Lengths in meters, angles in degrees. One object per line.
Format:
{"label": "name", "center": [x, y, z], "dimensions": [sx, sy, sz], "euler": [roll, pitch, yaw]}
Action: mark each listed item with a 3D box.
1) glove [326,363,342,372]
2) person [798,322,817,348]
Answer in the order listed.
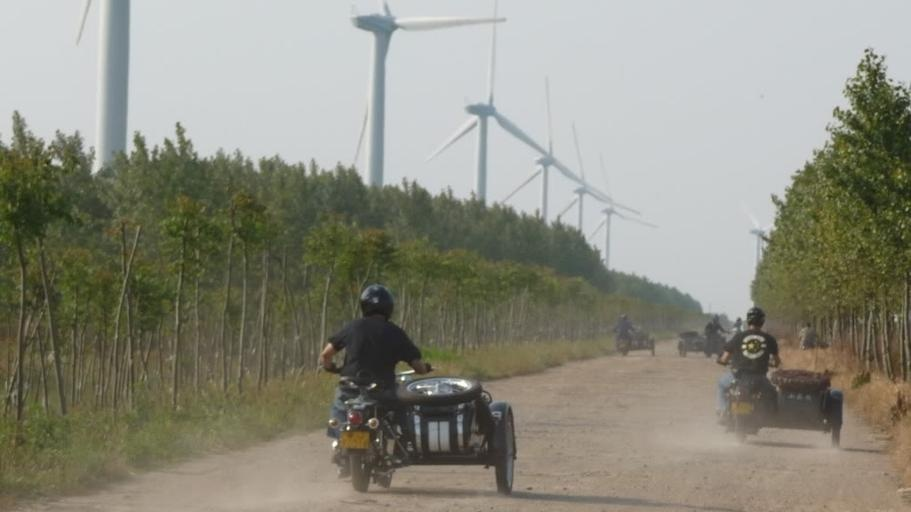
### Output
{"label": "glove", "center": [-3.485, 3.197, 30.936], "dimensions": [0.278, 0.299, 0.294], "euler": [0, -19, 0]}
{"label": "person", "center": [22.890, 5.124, 69.499], "dimensions": [0.856, 1.553, 0.767], "euler": [4, -2, 44]}
